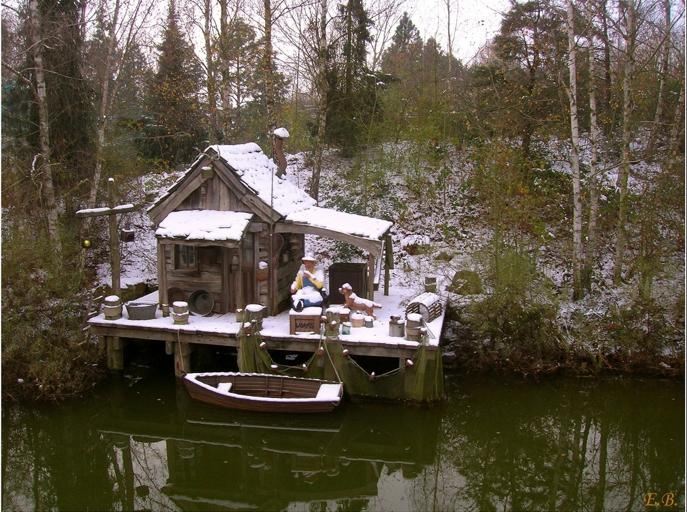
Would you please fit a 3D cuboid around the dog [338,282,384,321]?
[{"bbox_3d":[0.520,1.369,22.977,1.300,1.109,0.507,10,22,11],"label":"dog"}]

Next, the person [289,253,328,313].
[{"bbox_3d":[-1.028,0.845,22.624,1.012,1.567,0.906,-1,2,-3],"label":"person"}]
